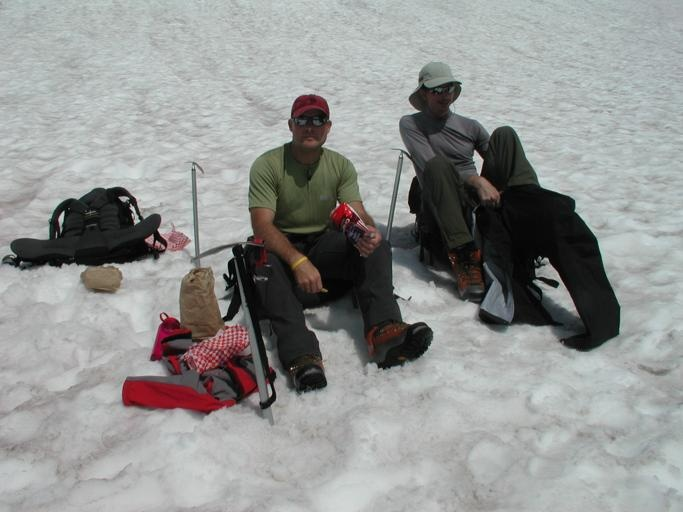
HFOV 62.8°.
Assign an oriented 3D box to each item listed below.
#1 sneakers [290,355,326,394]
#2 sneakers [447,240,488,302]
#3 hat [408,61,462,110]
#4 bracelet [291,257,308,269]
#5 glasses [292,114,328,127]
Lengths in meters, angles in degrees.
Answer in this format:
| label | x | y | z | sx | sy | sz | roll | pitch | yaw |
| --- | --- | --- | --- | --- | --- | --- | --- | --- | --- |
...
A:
| label | x | y | z | sx | sy | sz | roll | pitch | yaw |
| --- | --- | --- | --- | --- | --- | --- | --- | --- | --- |
| sneakers | -0.215 | 0.777 | 3.674 | 0.226 | 0.205 | 0.184 | -10 | 39 | -11 |
| sneakers | 1.038 | 0.141 | 4.634 | 0.208 | 0.256 | 0.535 | -19 | 78 | 14 |
| hat | 0.884 | -1.641 | 5.234 | 0.439 | 0.540 | 0.250 | 2 | 83 | -8 |
| bracelet | -0.285 | 0.044 | 3.905 | 0.091 | 0.094 | 0.024 | -31 | 90 | -24 |
| glasses | -0.222 | -0.976 | 4.062 | 0.234 | 0.093 | 0.064 | -3 | 39 | -3 |
